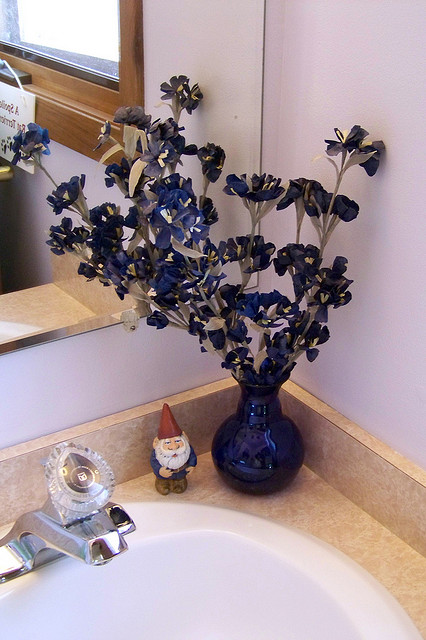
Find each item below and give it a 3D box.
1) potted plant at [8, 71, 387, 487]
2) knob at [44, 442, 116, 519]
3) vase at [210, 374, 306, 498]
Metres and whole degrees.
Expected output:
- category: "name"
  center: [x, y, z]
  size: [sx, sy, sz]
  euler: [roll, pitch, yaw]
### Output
- category: "potted plant"
  center: [-0.054, -0.100, 0.984]
  size: [0.472, 0.706, 0.611]
  euler: [9, 26, 39]
- category: "knob"
  center: [-0.156, 0.172, 0.586]
  size: [0.073, 0.024, 0.082]
  euler: [-23, 70, -48]
- category: "vase"
  center: [0.074, 0.171, 0.824]
  size: [0.136, 0.176, 0.138]
  euler: [13, 24, 37]
